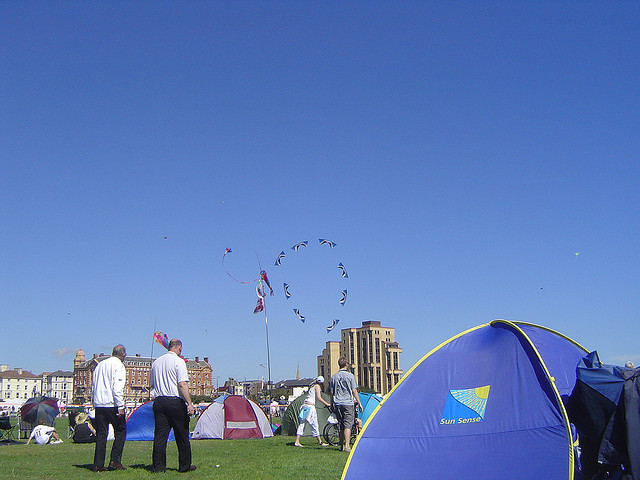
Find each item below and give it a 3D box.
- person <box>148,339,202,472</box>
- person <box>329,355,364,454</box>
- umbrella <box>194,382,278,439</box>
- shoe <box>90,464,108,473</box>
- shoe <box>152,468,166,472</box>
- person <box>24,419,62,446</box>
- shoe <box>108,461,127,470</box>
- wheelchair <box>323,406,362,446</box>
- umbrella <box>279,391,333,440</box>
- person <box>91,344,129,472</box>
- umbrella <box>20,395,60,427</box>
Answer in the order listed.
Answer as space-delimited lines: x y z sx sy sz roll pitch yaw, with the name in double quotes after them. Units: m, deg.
-2.468 2.752 11.569 0.738 2.132 0.601 3 -13 -15 "person"
0.524 3.440 14.645 0.622 1.959 0.483 2 7 20 "person"
-2.332 4.622 18.877 1.765 1.301 1.830 2 -10 14 "umbrella"
-3.635 3.787 11.433 0.249 0.089 0.317 3 -15 -17 "shoe"
-2.623 3.755 11.284 0.231 0.059 0.194 -1 -14 -1 "shoe"
-7.093 5.081 17.791 0.845 0.631 0.507 -3 -17 -4 "person"
-3.386 3.773 11.564 0.271 0.130 0.096 10 -7 -22 "shoe"
0.530 4.467 16.571 0.748 1.208 1.632 2 -9 -15 "wheelchair"
-0.147 5.036 19.827 1.871 1.520 1.976 6 -15 -20 "umbrella"
-3.569 2.868 11.796 0.615 2.036 0.920 3 -13 -18 "person"
-8.359 5.110 20.700 0.912 0.829 1.449 -1 -14 -2 "umbrella"
